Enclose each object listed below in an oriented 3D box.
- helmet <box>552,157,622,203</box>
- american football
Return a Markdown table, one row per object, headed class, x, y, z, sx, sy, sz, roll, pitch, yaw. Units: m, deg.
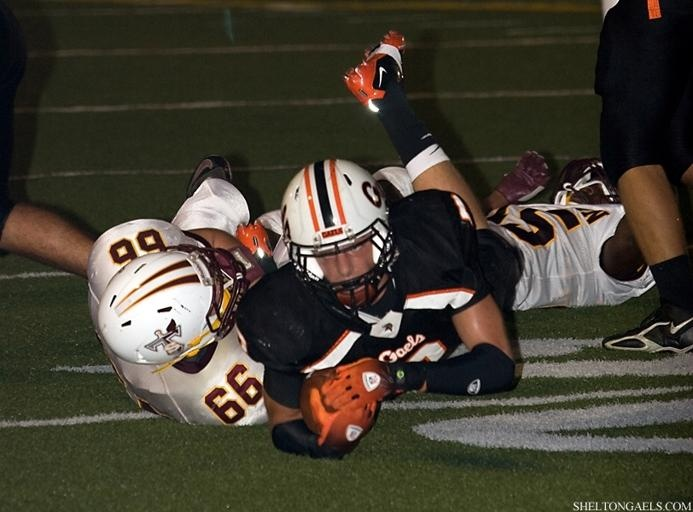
| class | x | y | z | sx | sy | sz | roll | pitch | yaw |
| --- | --- | --- | --- | --- | --- | --- | --- | --- | --- |
| helmet | 1.885 | -0.576 | 5.991 | 0.455 | 0.390 | 0.327 | -35 | 11 | -36 |
| american football | 0.034 | 0.882 | 4.453 | 0.377 | 0.493 | 0.385 | -20 | 57 | 14 |
